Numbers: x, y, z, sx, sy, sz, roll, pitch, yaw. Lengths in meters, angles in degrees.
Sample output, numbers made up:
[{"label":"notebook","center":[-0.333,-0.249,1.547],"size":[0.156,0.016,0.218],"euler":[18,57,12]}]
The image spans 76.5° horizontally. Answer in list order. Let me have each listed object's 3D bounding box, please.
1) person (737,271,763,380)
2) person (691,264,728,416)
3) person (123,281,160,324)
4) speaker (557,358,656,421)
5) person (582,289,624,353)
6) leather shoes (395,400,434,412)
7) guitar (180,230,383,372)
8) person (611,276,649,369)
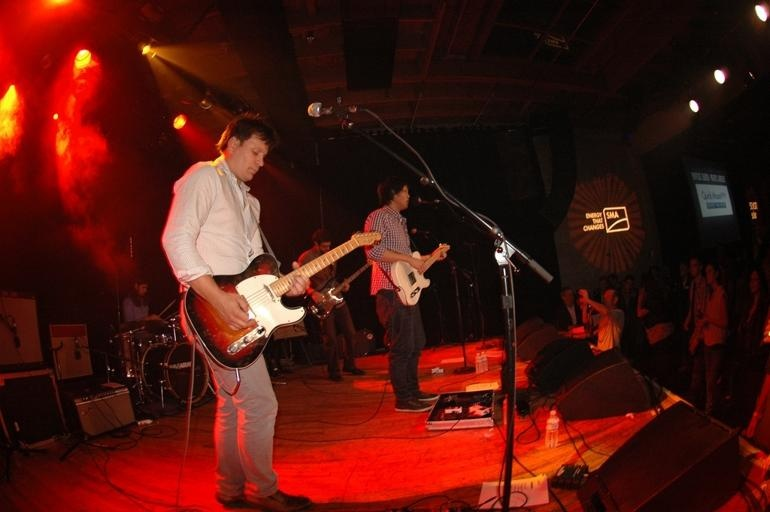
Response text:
[{"label":"person","center":[3.663,0.666,4.869],"size":[0.126,1.166,0.255],"euler":[-3,-2,-19]},{"label":"person","center":[3.506,0.869,5.274],"size":[0.320,1.674,0.401],"euler":[-3,-2,-5]},{"label":"person","center":[-3.955,0.709,7.678],"size":[0.407,0.667,0.834],"euler":[-2,-3,-30]},{"label":"speaker","center":[2.211,1.411,4.937],"size":[0.895,0.327,0.574],"euler":[-27,24,5]},{"label":"person","center":[3.058,0.945,6.881],"size":[0.527,0.970,0.507],"euler":[-15,22,-24]},{"label":"leather shoes","center":[0.318,1.726,5.697],"size":[0.408,0.165,0.158],"euler":[-2,-7,7]},{"label":"guitar","center":[-1.143,0.638,5.785],"size":[2.330,0.955,0.310],"euler":[-32,0,-26]},{"label":"person","center":[3.411,0.905,6.766],"size":[0.314,1.200,0.826],"euler":[-4,-2,25]}]
